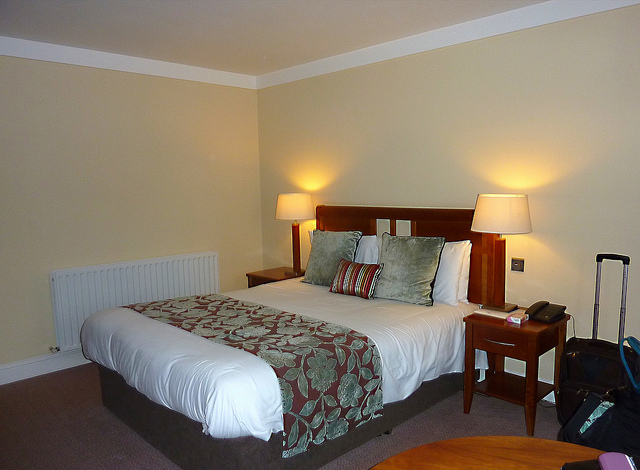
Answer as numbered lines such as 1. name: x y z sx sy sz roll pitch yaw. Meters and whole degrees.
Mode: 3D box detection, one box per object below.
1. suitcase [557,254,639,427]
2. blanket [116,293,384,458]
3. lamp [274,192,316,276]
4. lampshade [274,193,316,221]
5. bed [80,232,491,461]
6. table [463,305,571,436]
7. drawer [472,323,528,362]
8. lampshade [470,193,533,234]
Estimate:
1. suitcase: 1.888 0.741 3.194 0.415 1.046 1.251 6 15 28
2. blanket: -0.382 0.995 3.555 1.584 0.639 0.853 10 17 40
3. lamp: -0.282 0.007 5.533 0.632 0.991 0.628 -5 6 -33
4. lampshade: -0.288 -0.322 5.428 0.325 0.399 0.331 2 5 40
5. bed: -0.196 0.698 3.840 2.821 1.112 1.743 -10 15 -34
6. table: 1.569 0.952 4.100 0.844 1.245 0.914 5 8 44
7. drawer: 1.401 0.800 3.653 0.281 0.141 0.268 7 9 37
8. lampshade: 1.571 -0.199 3.943 0.499 0.331 0.511 2 -8 16
